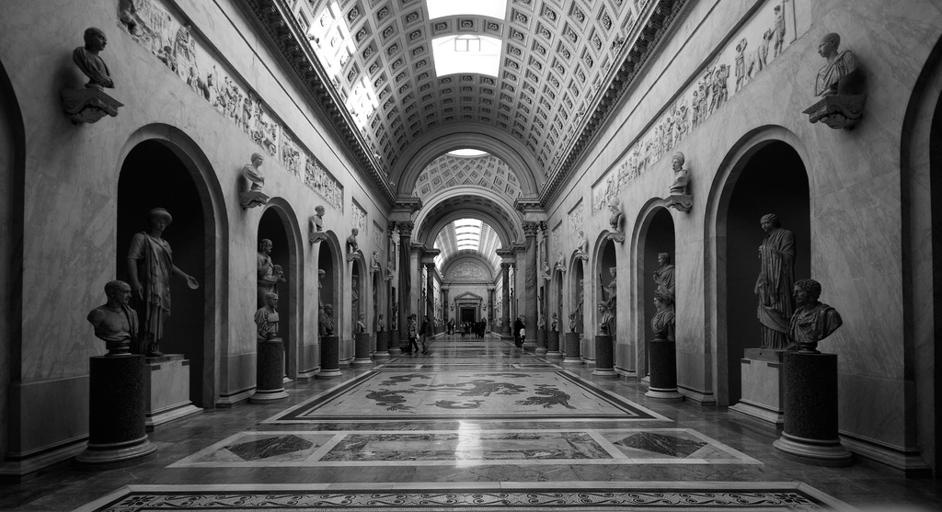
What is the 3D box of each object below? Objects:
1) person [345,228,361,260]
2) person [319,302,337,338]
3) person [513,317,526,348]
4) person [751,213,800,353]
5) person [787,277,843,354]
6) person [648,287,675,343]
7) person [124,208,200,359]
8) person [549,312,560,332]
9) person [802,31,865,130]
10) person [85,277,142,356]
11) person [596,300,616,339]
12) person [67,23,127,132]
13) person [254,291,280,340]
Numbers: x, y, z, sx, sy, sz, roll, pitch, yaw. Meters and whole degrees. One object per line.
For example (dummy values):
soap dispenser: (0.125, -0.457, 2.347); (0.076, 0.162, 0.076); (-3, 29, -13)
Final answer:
person: (-4.430, -0.446, 21.886); (0.371, 1.203, 0.916); (0, 4, 0)
person: (-4.476, 1.951, 18.157); (0.422, 0.999, 0.664); (-2, 5, -24)
person: (2.695, 4.245, 32.410); (0.476, 1.263, 1.255); (0, 4, -2)
person: (6.194, 0.526, 11.887); (0.755, 2.740, 0.499); (4, 6, 40)
person: (5.964, 1.034, 10.137); (0.706, 1.227, 0.465); (2, 5, 28)
person: (4.824, 1.458, 14.581); (0.514, 1.264, 0.898); (2, 5, 20)
person: (-6.372, 0.562, 11.758); (0.865, 3.012, 0.631); (-3, 5, -30)
person: (3.763, 2.956, 25.994); (0.317, 0.783, 1.292); (1, 4, 12)
person: (6.352, -3.050, 10.233); (0.876, 1.671, 0.481); (0, 4, -4)
person: (-6.167, 1.044, 10.086); (0.608, 1.234, 0.484); (-1, 4, -5)
person: (4.409, 2.019, 18.964); (0.510, 1.329, 1.230); (1, -5, 4)
person: (-6.592, -3.102, 10.116); (0.883, 1.609, 0.367); (1, 5, 9)
person: (-5.050, 1.468, 14.472); (0.516, 1.154, 0.809); (-2, 5, -22)
